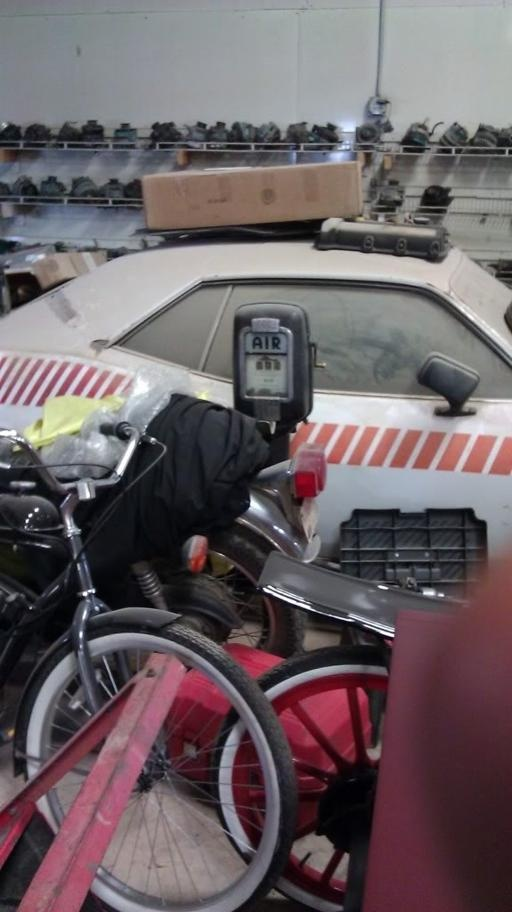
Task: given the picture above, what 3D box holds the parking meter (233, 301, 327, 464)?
[{"bbox_3d":[0.064,-0.256,2.203,0.295,0.668,0.190,6,30,12],"label":"parking meter"}]
